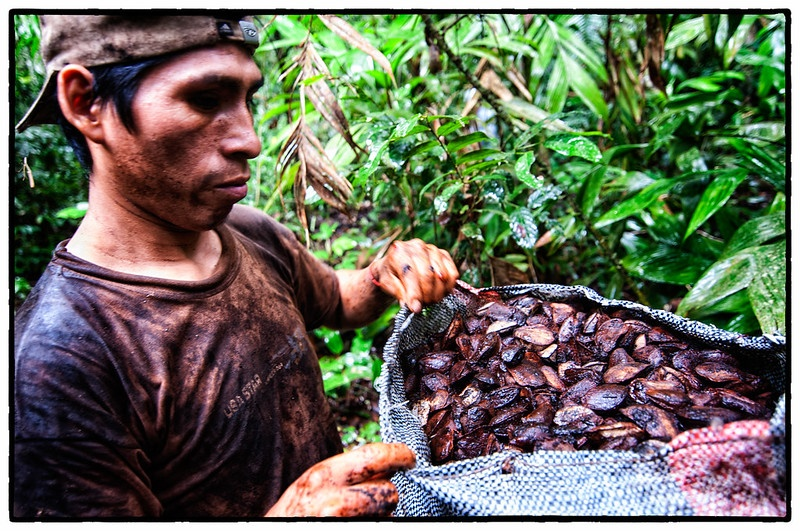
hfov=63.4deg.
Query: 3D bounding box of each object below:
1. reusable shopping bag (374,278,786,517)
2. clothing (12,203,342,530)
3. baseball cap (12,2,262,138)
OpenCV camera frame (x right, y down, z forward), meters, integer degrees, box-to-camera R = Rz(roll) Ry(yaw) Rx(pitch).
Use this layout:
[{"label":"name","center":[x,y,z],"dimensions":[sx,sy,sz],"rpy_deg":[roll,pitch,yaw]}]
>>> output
[{"label":"reusable shopping bag","center":[0.437,0.422,1.694],"dimensions":[0.921,0.270,0.694],"rpy_deg":[5,33,22]},{"label":"clothing","center":[-0.684,0.321,1.983],"dimensions":[0.435,0.748,0.822],"rpy_deg":[3,28,21]},{"label":"baseball cap","center":[-0.767,-0.583,1.914],"dimensions":[0.502,0.249,0.354],"rpy_deg":[-16,16,-7]}]
